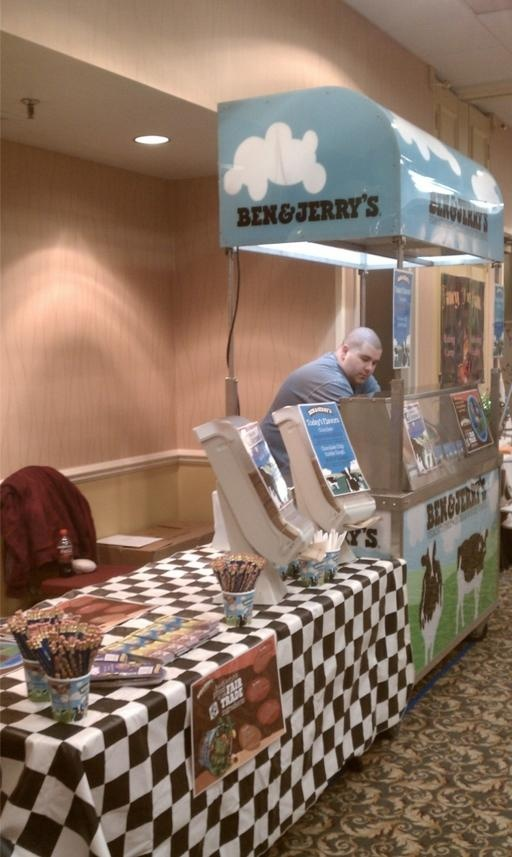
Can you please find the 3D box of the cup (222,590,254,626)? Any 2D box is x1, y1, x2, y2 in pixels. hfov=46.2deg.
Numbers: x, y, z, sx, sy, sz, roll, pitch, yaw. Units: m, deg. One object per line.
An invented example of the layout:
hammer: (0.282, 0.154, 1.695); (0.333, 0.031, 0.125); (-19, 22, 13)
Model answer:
cup: (-0.039, 0.410, 1.399); (0.070, 0.067, 0.072); (-3, 4, 0)

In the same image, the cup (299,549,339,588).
cup: (0.178, 0.404, 1.726); (0.042, 0.110, 0.111); (1, 5, 34)

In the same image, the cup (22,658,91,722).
cup: (-0.303, 0.397, 0.924); (0.094, 0.082, 0.085); (-1, -1, 0)
